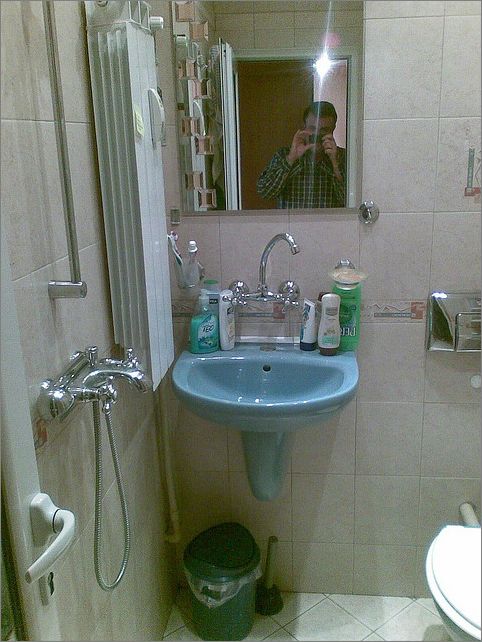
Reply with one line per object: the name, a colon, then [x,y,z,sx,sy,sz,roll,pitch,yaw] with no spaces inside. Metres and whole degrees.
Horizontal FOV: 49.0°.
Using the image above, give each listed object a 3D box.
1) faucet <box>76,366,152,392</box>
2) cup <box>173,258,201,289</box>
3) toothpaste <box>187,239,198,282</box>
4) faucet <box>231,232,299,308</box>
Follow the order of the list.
faucet: [-0.238,0.108,1.022,0.090,0.051,0.055,-5,-1,1]
cup: [-0.167,-0.154,1.686,0.085,0.119,0.061,0,13,-29]
toothpaste: [-0.153,-0.180,1.669,0.038,0.142,0.038,-4,13,-6]
faucet: [0.065,-0.139,1.614,0.227,0.250,0.208,-2,15,7]
